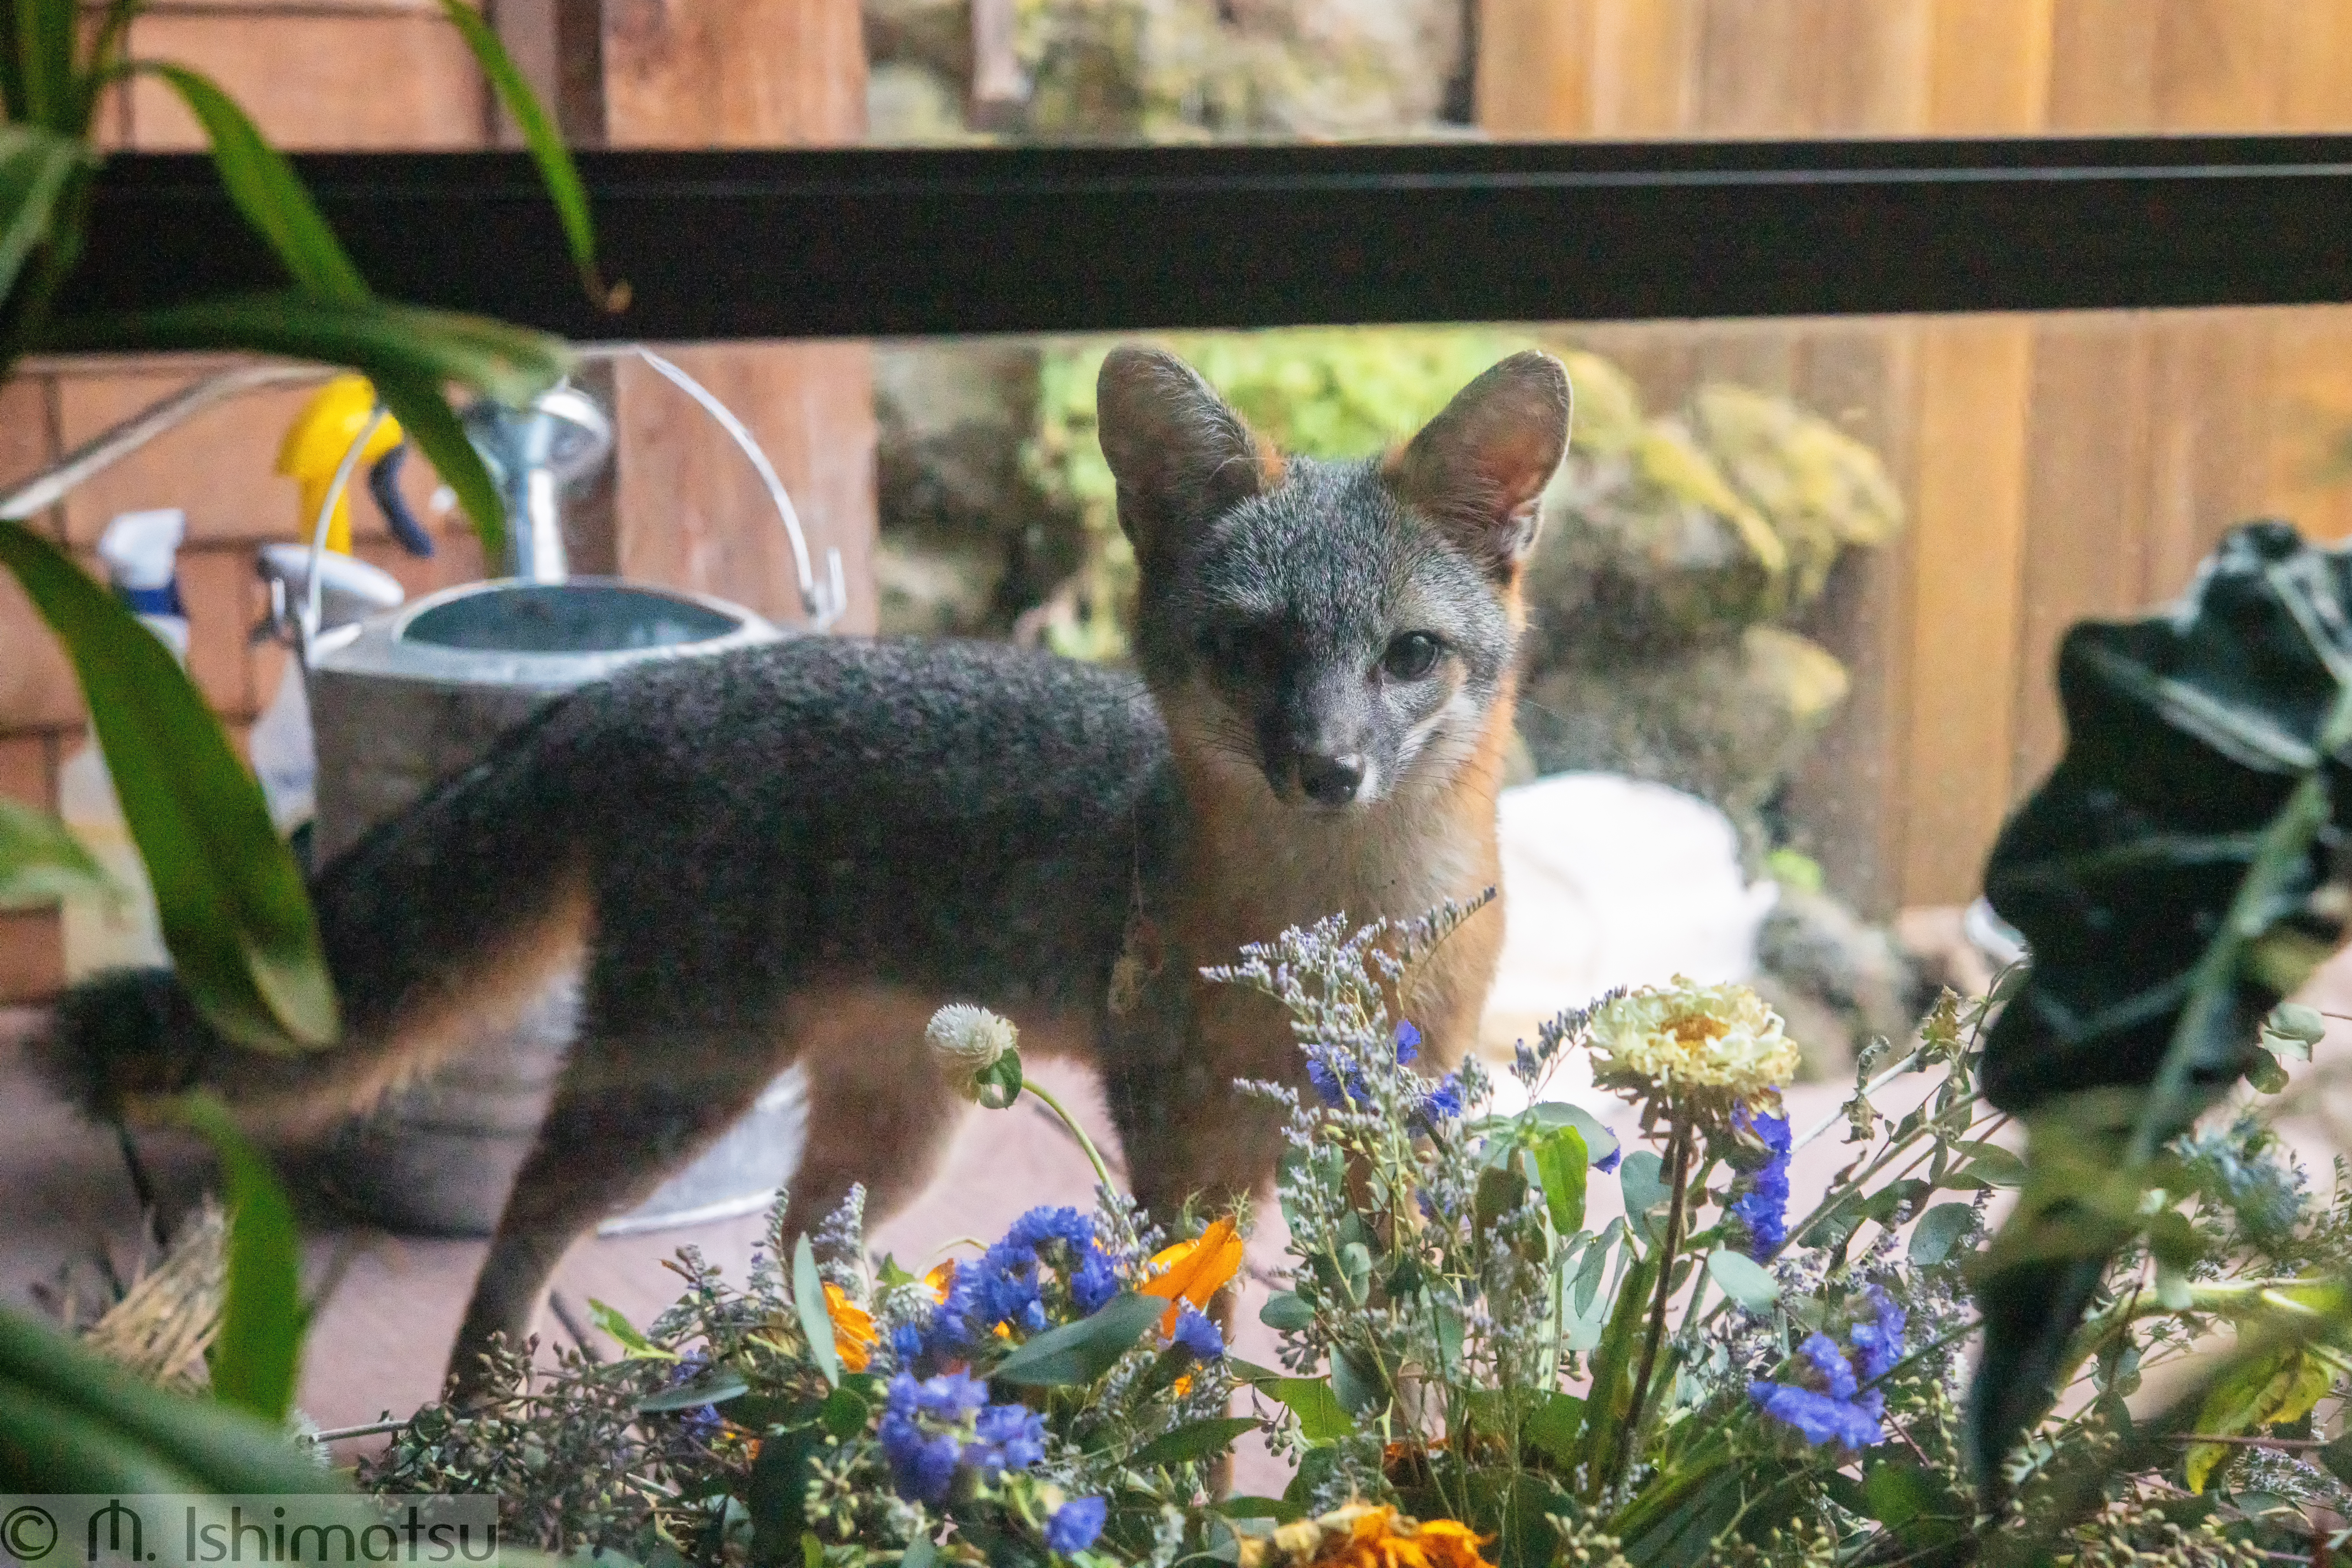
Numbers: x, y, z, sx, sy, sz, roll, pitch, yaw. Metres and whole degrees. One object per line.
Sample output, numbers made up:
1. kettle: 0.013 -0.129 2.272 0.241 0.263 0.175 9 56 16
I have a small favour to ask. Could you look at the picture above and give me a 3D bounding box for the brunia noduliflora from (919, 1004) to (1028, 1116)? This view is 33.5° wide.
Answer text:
1. brunia noduliflora: -0.121 0.157 2.300 0.059 0.056 0.039 0 -8 41
